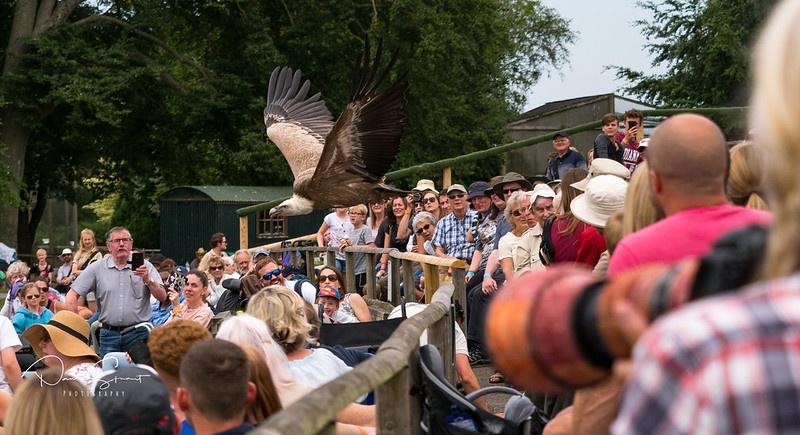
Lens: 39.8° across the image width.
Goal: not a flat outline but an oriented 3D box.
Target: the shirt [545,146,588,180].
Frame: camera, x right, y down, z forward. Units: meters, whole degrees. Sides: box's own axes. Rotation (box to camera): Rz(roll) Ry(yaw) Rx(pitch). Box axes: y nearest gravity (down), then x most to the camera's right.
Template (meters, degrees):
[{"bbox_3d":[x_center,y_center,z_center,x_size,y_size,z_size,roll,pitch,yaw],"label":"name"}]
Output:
[{"bbox_3d":[5.172,-1.606,34.387,1.383,1.027,0.636,-8,2,37],"label":"shirt"}]

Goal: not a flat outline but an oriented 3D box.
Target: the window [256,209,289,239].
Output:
[{"bbox_3d":[-5.391,0.281,46.014,1.352,1.383,0.121,-2,2,-9],"label":"window"}]

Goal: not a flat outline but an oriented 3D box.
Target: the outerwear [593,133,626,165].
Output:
[{"bbox_3d":[6.401,-2.091,33.792,1.055,0.894,0.553,-13,29,-29],"label":"outerwear"}]

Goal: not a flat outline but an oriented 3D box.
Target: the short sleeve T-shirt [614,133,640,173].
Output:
[{"bbox_3d":[6.992,-2.022,33.619,1.134,1.062,0.848,-2,29,11],"label":"short sleeve T-shirt"}]

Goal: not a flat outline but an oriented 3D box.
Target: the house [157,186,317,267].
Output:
[{"bbox_3d":[-6.747,0.285,49.573,5.225,2.902,4.006,-1,1,-40],"label":"house"}]

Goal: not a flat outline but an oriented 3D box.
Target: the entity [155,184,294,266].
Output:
[{"bbox_3d":[-8.705,0.396,49.185,4.848,2.680,3.704,-5,6,-35],"label":"entity"}]

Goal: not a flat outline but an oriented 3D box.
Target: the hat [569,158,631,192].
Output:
[{"bbox_3d":[5.551,-1.246,30.760,1.734,0.526,1.201,-4,19,-13],"label":"hat"}]
